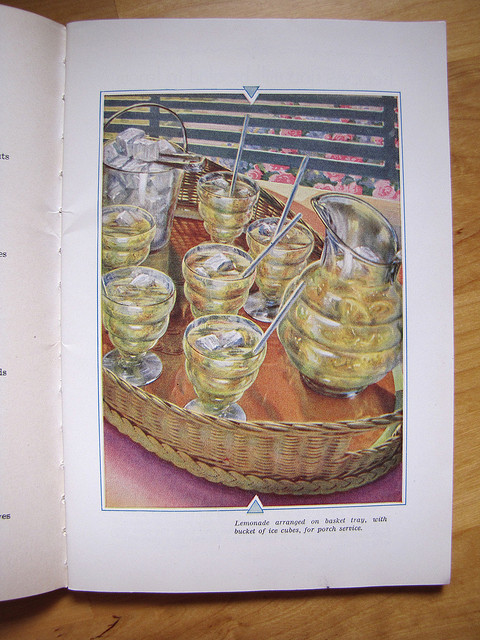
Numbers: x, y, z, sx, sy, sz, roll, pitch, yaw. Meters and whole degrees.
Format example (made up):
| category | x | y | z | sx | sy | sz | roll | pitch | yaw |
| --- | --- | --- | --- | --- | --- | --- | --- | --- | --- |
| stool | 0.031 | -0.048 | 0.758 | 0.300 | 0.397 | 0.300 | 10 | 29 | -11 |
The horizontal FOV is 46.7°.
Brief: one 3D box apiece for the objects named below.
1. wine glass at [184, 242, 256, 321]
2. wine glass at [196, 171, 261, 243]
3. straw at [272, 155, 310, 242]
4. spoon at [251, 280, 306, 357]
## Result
| category | x | y | z | sx | sy | sz | roll | pitch | yaw |
| --- | --- | --- | --- | --- | --- | --- | --- | --- | --- |
| wine glass | -0.026 | -0.037 | 0.618 | 0.082 | 0.065 | 0.080 | 0 | 39 | -5 |
| wine glass | -0.011 | -0.120 | 0.622 | 0.077 | 0.076 | 0.071 | 9 | 41 | -4 |
| straw | 0.053 | -0.125 | 0.573 | 0.008 | 0.097 | 0.008 | 28 | 10 | 19 |
| spoon | 0.041 | 0.000 | 0.568 | 0.013 | 0.099 | 0.013 | 46 | 11 | 11 |
